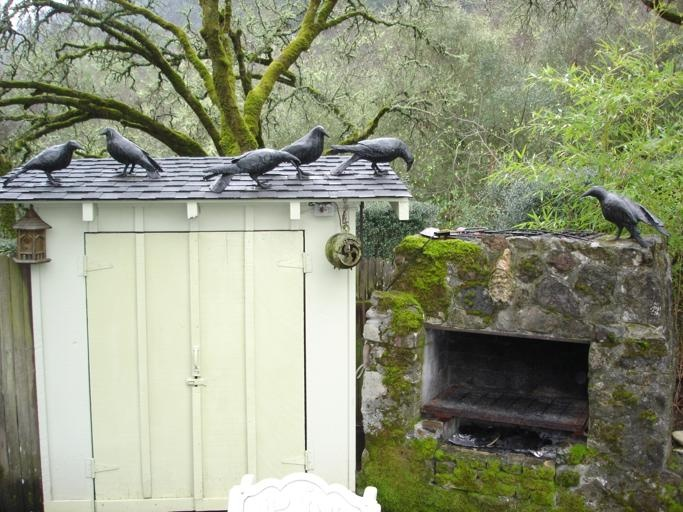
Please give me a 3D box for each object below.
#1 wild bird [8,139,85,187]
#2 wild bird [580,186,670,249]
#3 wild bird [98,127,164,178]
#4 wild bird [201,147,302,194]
[{"bbox_3d":[-3.698,-1.219,10.803,1.163,0.770,0.421,2,4,-21],"label":"wild bird"},{"bbox_3d":[3.606,-0.512,10.566,1.102,0.706,0.593,3,15,40],"label":"wild bird"},{"bbox_3d":[-2.753,-1.346,10.737,0.757,0.575,0.374,3,5,-10],"label":"wild bird"},{"bbox_3d":[-1.136,-1.084,10.482,1.484,0.664,0.507,-2,3,-11],"label":"wild bird"}]
